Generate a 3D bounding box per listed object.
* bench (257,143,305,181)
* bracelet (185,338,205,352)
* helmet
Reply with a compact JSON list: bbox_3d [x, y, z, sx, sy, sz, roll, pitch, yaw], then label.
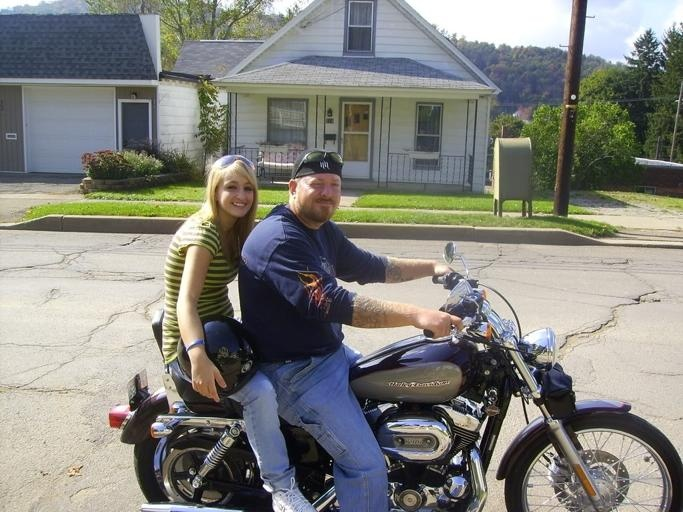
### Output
[{"bbox_3d":[-1.907,-2.900,21.475,1.150,0.963,0.453,0,0,-4],"label":"bench"},{"bbox_3d":[-0.844,0.514,3.902,0.111,0.065,0.058,-3,11,-14],"label":"bracelet"},{"bbox_3d":[-0.831,0.533,4.066,0.480,0.445,0.410,4,25,-12],"label":"helmet"}]
